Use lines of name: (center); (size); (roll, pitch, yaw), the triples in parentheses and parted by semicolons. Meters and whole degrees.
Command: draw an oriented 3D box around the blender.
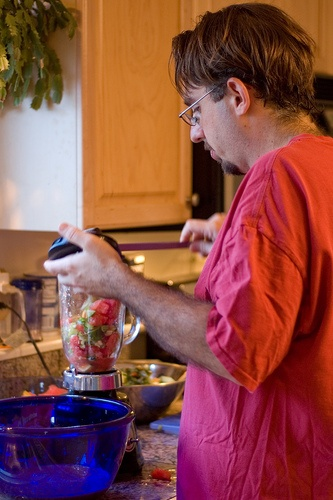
blender: (-0.141, 0.205, 0.886); (0.200, 0.472, 0.197); (-3, -10, 8)

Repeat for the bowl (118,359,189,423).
bowl: (-0.056, 0.397, 1.319); (0.214, 0.092, 0.219); (-1, -4, 0)
